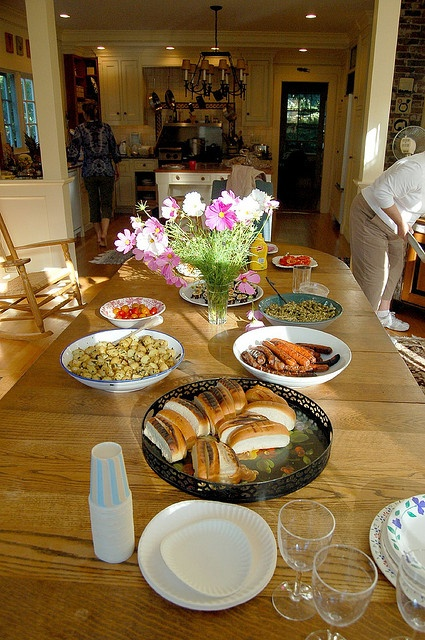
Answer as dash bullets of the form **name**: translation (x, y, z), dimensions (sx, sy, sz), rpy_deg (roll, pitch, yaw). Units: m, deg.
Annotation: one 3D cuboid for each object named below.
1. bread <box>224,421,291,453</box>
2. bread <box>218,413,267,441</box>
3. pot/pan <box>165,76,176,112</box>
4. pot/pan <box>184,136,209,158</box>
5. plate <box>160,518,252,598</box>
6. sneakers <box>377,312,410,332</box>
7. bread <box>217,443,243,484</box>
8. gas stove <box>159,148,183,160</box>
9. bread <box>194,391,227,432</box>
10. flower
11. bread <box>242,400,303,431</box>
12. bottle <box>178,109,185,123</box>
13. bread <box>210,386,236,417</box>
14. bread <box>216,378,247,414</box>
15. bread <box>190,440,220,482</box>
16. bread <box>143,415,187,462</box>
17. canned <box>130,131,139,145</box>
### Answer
- **bread**: translation (0.086, 0.207, 0.817), dimensions (0.098, 0.033, 0.054), rpy_deg (-4, 13, -8)
- **bread**: translation (0.052, 0.195, 0.851), dimensions (0.057, 0.019, 0.056), rpy_deg (-14, 12, -7)
- **pot/pan**: translation (-0.738, -3.851, 7.787), dimensions (0.175, 0.289, 0.690), rpy_deg (-3, 13, -4)
- **pot/pan**: translation (-0.312, -3.131, 8.187), dimensions (0.396, 0.393, 0.389), rpy_deg (-2, 31, -1)
- **plate**: translation (-0.003, 0.309, 0.590), dimensions (0.117, 0.024, 0.104), rpy_deg (11, 18, 44)
- **sneakers**: translation (1.341, 0.018, 3.330), dimensions (0.297, 0.128, 0.125), rpy_deg (0, 23, 1)
- **bread**: translation (0.027, 0.239, 0.737), dimensions (0.041, 0.030, 0.053), rpy_deg (-37, 70, 1)
- **gas stove**: translation (-0.767, -3.023, 8.238), dimensions (0.368, 0.177, 0.255), rpy_deg (0, 35, 1)
- **bread**: translation (-0.003, 0.183, 0.889), dimensions (0.048, 0.020, 0.066), rpy_deg (-18, 39, -30)
- **flower**: translation (-0.086, -0.227, 1.600), dimensions (0.562, 0.450, 0.511), rpy_deg (-5, 33, -11)
- **bread**: translation (0.122, 0.188, 0.885), dimensions (0.102, 0.034, 0.055), rpy_deg (15, 40, 13)
- **bottle**: translation (-0.571, -3.830, 8.342), dimensions (0.180, 0.201, 0.046), rpy_deg (-3, 14, -4)
- **bread**: translation (0.021, 0.165, 0.918), dimensions (0.034, 0.033, 0.115), rpy_deg (-11, 25, -6)
- **bread**: translation (0.036, 0.161, 0.951), dimensions (0.047, 0.028, 0.091), rpy_deg (4, 27, -17)
- **bread**: translation (-0.010, 0.232, 0.736), dimensions (0.034, 0.022, 0.060), rpy_deg (0, 29, -4)
- **bread**: translation (-0.086, 0.213, 0.807), dimensions (0.061, 0.040, 0.110), rpy_deg (-2, 19, -29)
- **canned**: translation (-1.452, -3.459, 8.474), dimensions (0.185, 0.243, 0.180), rpy_deg (4, 21, 3)
